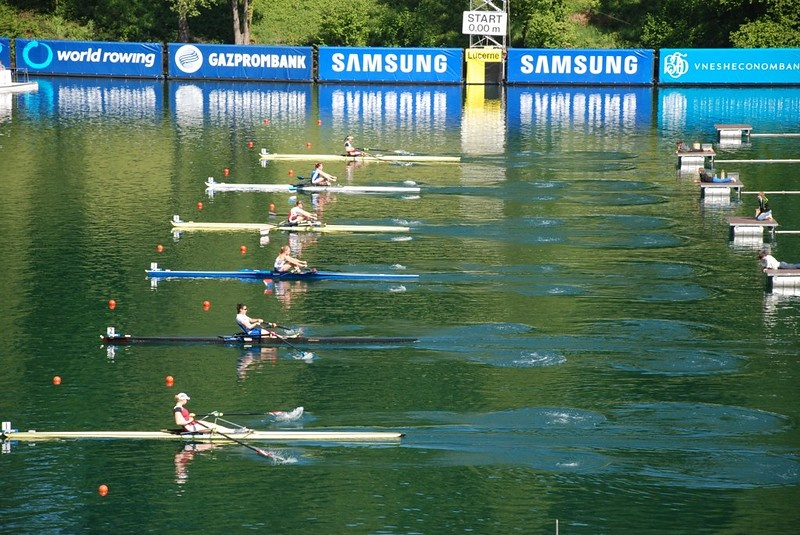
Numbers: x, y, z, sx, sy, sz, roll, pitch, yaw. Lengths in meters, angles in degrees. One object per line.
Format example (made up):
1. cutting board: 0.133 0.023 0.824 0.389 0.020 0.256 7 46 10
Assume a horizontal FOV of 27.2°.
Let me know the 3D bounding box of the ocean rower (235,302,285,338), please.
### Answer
1. ocean rower: -6.487 2.474 76.260 2.026 0.894 1.746 1 14 -1

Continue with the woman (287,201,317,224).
1. woman: -5.251 -2.863 87.237 1.978 1.283 0.875 -8 29 -6

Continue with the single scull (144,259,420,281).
1. single scull: -5.882 0.227 81.323 12.801 1.029 0.842 -1 10 1

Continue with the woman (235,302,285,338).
1. woman: -6.484 2.409 76.212 2.026 0.894 1.746 1 14 -1

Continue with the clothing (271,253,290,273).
1. clothing: -5.802 -0.140 81.579 1.079 0.831 0.740 -14 -1 -5

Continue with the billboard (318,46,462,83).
1. billboard: -1.314 -15.643 129.172 14.884 2.727 2.185 -6 9 -40

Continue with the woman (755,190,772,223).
1. woman: 18.754 -3.176 85.189 0.827 1.434 1.875 0 10 12

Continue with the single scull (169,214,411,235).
1. single scull: -6.107 -2.265 86.940 11.862 1.030 1.311 -1 9 2

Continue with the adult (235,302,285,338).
1. adult: -6.442 2.476 76.237 2.026 0.894 1.746 1 14 -1

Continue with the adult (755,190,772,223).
1. adult: 18.758 -3.179 85.207 0.827 1.434 1.912 0 9 12

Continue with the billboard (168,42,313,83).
1. billboard: -12.198 -15.948 129.977 15.079 3.084 1.581 5 10 33

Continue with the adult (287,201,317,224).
1. adult: -5.292 -2.862 87.232 1.978 1.283 0.875 -8 29 -6

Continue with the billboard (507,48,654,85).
1. billboard: 13.418 -15.446 128.466 14.689 2.684 1.946 -4 10 -32

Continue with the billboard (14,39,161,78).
1. billboard: -24.531 -16.411 131.079 14.778 3.017 1.682 4 12 26

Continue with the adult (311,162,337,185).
1. adult: -4.509 -5.277 94.106 1.852 1.315 0.927 -8 39 -6

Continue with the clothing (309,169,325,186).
1. clothing: -4.670 -5.050 93.854 0.724 0.840 0.725 -28 47 -29

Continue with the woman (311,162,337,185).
1. woman: -4.506 -5.289 94.093 1.852 1.315 0.927 -8 39 -6

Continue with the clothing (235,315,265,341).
1. clothing: -6.951 2.703 76.088 1.447 1.032 0.950 -7 21 -2

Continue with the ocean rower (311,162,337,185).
1. ocean rower: -4.522 -5.298 94.110 1.852 1.315 0.927 -8 39 -6
